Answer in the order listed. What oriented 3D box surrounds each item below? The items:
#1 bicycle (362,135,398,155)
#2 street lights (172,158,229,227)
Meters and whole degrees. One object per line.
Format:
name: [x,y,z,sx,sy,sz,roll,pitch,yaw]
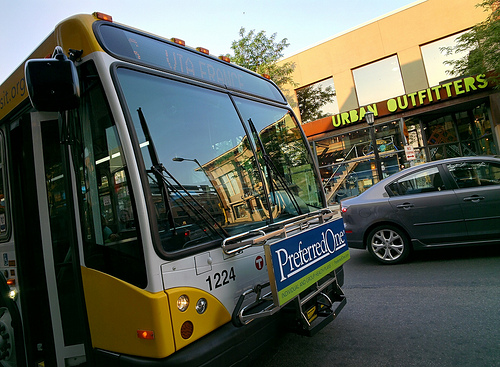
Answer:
bicycle: [6.839,-2.051,17.882,1.465,0.989,0.797,-6,1,25]
street lights: [-0.552,0.117,3.568,0.260,0.076,0.817,-8,42,-25]
